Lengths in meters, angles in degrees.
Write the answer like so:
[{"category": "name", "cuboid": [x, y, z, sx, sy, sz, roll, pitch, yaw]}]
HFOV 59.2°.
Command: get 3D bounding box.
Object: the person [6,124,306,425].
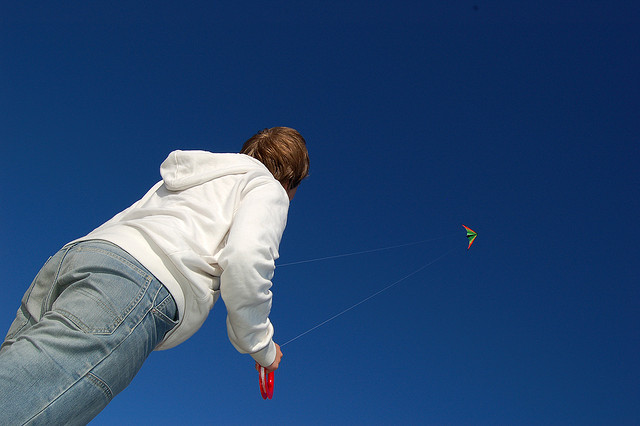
[{"category": "person", "cuboid": [-0.535, 0.223, 1.752, 0.778, 0.833, 0.562, 1, -59, 10]}]
